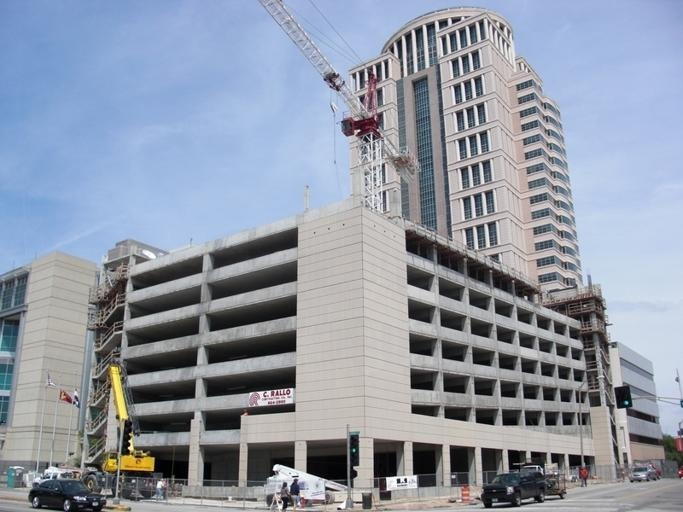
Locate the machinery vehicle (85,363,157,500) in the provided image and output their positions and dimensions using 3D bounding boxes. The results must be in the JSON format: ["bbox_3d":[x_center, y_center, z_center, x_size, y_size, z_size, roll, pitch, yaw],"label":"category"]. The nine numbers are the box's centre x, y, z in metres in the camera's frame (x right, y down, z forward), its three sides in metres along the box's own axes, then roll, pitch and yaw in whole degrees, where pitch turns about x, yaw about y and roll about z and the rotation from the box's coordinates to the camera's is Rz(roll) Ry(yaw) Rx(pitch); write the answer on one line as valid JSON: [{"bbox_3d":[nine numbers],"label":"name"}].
[{"bbox_3d":[-22.785,21.194,67.066,4.013,19.022,8.719,10,-22,-38],"label":"machinery vehicle"}]

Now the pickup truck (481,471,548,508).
[{"bbox_3d":[14.736,19.884,54.002,6.323,3.112,2.215,21,-32,-39],"label":"pickup truck"}]
